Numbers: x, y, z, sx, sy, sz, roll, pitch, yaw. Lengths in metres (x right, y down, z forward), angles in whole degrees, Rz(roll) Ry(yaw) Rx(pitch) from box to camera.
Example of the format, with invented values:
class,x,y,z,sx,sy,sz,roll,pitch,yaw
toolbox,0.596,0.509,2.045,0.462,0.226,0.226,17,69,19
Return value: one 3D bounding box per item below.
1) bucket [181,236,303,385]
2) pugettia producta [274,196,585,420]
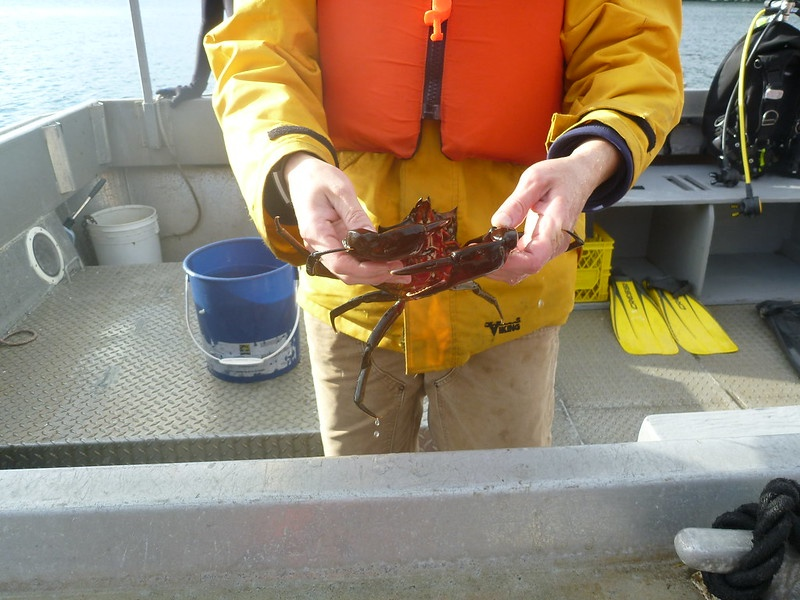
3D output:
class,x,y,z,sx,sy,sz,roll,pitch,yaw
bucket,-0.648,0.103,3.037,0.593,0.571,0.622,1,28,0
pugettia producta,0.056,-0.064,1.461,0.705,0.521,0.290,-17,56,-12
